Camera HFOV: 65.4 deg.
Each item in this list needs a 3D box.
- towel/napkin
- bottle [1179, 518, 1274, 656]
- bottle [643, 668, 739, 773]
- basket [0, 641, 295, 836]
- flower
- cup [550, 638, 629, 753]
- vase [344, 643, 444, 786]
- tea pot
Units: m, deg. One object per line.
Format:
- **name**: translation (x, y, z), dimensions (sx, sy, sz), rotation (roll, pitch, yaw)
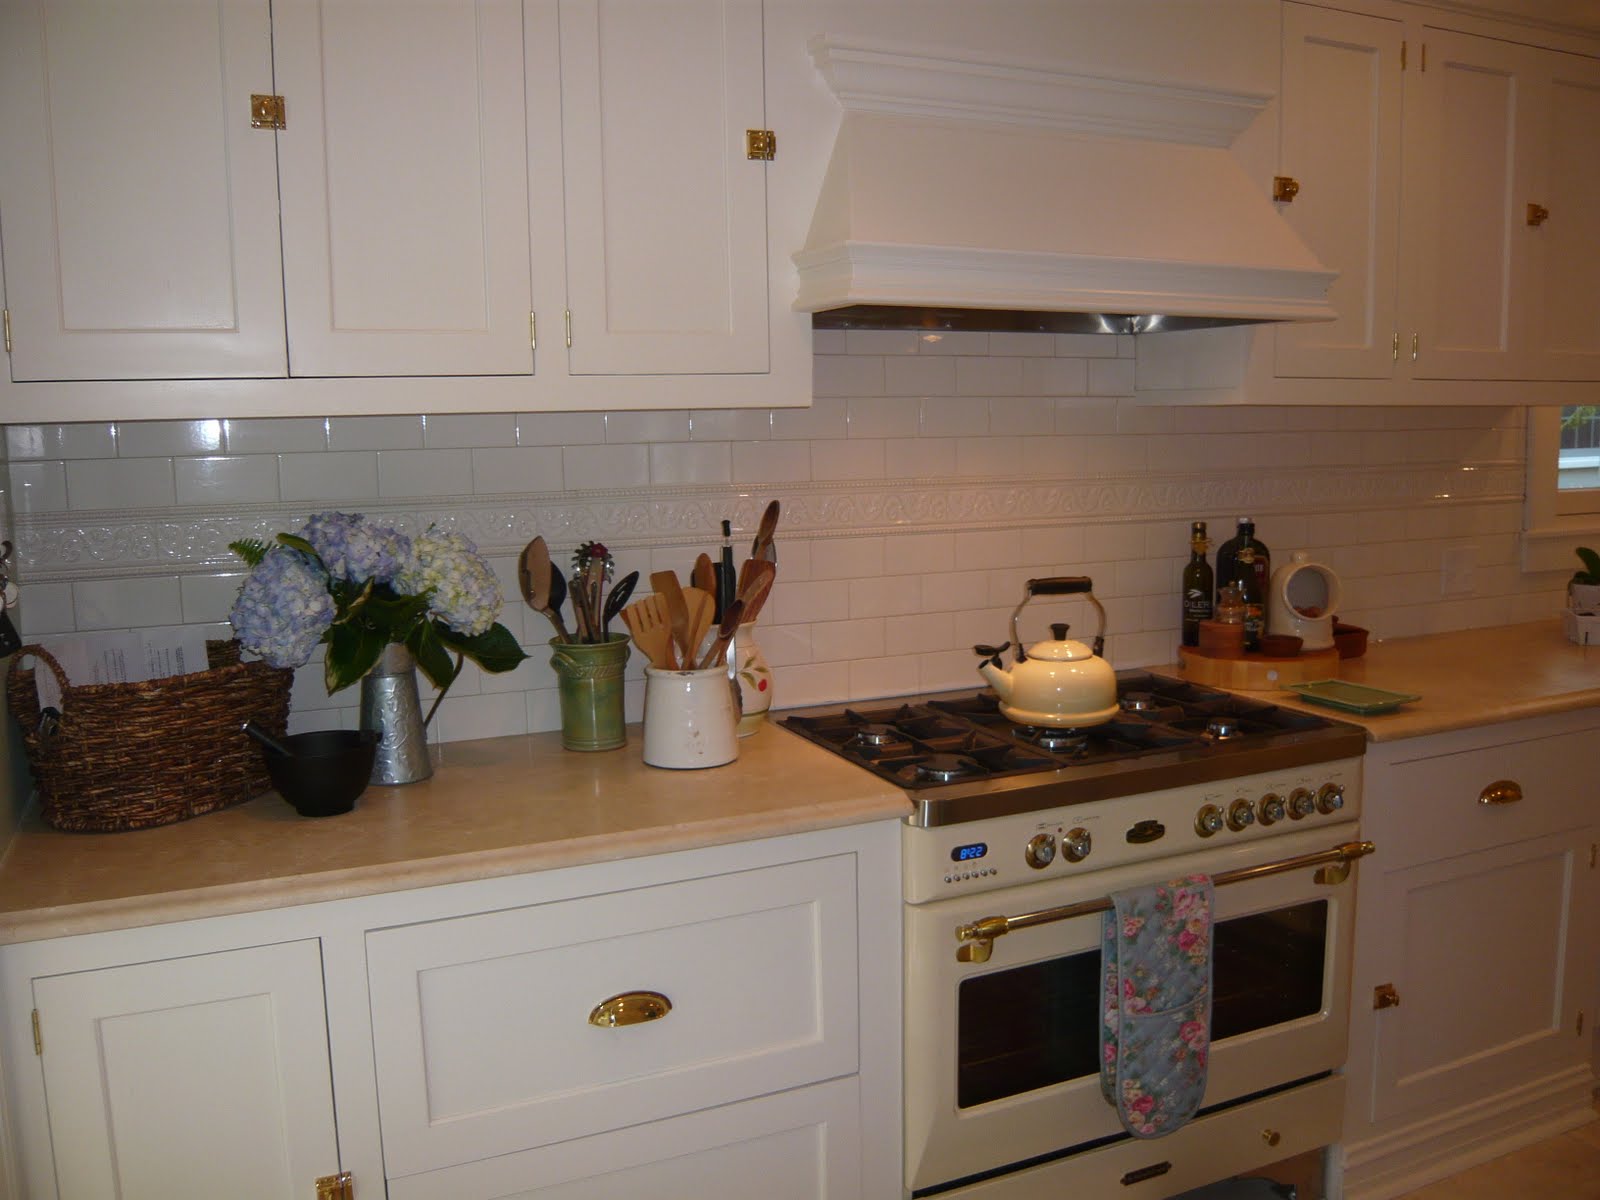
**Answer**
- **towel/napkin**: translation (0.764, 0.867, 2.665), dimensions (0.293, 0.534, 0.086), rotation (-8, 12, -22)
- **bottle**: translation (1.173, -0.043, 3.430), dimensions (0.233, 0.338, 0.244), rotation (-3, 11, 1)
- **bottle**: translation (-0.240, 0.233, 2.725), dimensions (0.225, 0.228, 0.228), rotation (3, 6, 42)
- **basket**: translation (-1.276, 0.227, 2.440), dimensions (0.444, 0.307, 0.337), rotation (-6, 6, -41)
- **flower**: translation (-0.861, 0.039, 2.545), dimensions (0.547, 0.450, 0.292), rotation (-9, 13, -26)
- **cup**: translation (-0.478, 0.205, 2.814), dimensions (0.166, 0.240, 0.209), rotation (4, 6, 43)
- **vase**: translation (-0.858, 0.226, 2.614), dimensions (0.131, 0.308, 0.129), rotation (1, 19, 2)
- **tea pot**: translation (0.570, 0.119, 2.924), dimensions (0.341, 0.306, 0.270), rotation (-4, 11, 3)
